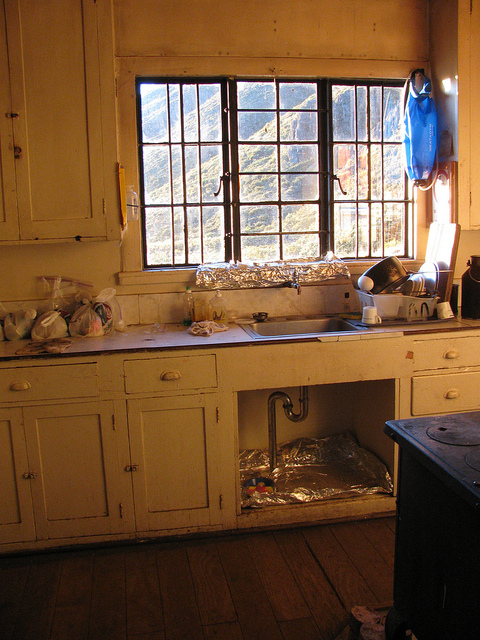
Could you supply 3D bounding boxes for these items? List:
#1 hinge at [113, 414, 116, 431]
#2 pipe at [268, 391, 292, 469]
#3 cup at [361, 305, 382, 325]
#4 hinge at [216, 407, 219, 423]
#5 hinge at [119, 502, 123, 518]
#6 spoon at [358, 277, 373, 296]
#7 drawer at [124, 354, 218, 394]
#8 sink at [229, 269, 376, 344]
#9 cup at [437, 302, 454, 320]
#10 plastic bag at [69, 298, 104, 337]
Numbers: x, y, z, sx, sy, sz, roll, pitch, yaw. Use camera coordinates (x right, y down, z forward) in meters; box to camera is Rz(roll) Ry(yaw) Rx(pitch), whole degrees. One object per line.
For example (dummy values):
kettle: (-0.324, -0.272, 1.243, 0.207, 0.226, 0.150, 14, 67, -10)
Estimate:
hinge: (-0.489, 0.396, 2.147, 0.013, 0.051, 0.010, 5, 0, -24)
pipe: (0.175, 0.530, 2.659, 0.089, 0.360, 0.111, 1, 12, -10)
cup: (0.595, -0.016, 2.499, 0.054, 0.082, 0.100, 1, 5, 6)
hinge: (-0.089, 0.378, 2.209, 0.011, 0.060, 0.006, -6, 13, -15)
hinge: (-0.474, 0.756, 2.201, 0.013, 0.061, 0.004, -3, 13, -3)
spoon: (0.589, -0.168, 2.590, 0.030, 0.066, 0.085, -8, 15, -23)
drawer: (-0.270, 0.211, 2.151, 0.359, 0.143, 0.030, -5, 13, -8)
sink: (0.261, -0.037, 2.531, 0.566, 0.312, 0.607, -5, 14, -7)
cup: (0.963, -0.043, 2.575, 0.076, 0.072, 0.048, -3, 13, 1)
plastic bag: (-0.671, -0.020, 2.463, 0.148, 0.228, 0.122, 0, 6, 7)
